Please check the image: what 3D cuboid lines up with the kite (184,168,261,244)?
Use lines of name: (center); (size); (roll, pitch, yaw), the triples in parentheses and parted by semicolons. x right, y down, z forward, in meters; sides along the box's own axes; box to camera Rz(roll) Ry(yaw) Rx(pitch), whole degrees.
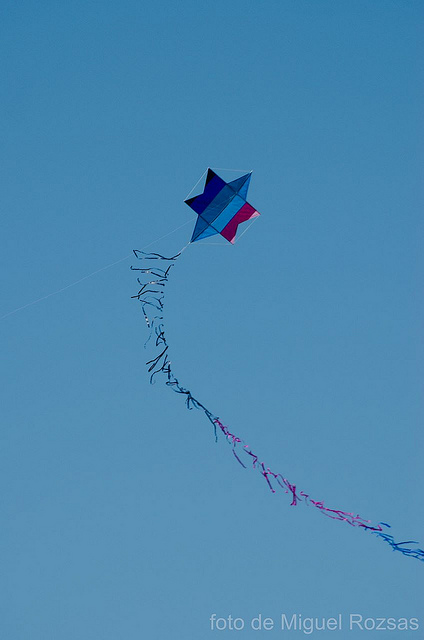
kite: (0.043, -0.419, 3.517); (0.226, 0.205, 0.002); (-59, -2, 11)
